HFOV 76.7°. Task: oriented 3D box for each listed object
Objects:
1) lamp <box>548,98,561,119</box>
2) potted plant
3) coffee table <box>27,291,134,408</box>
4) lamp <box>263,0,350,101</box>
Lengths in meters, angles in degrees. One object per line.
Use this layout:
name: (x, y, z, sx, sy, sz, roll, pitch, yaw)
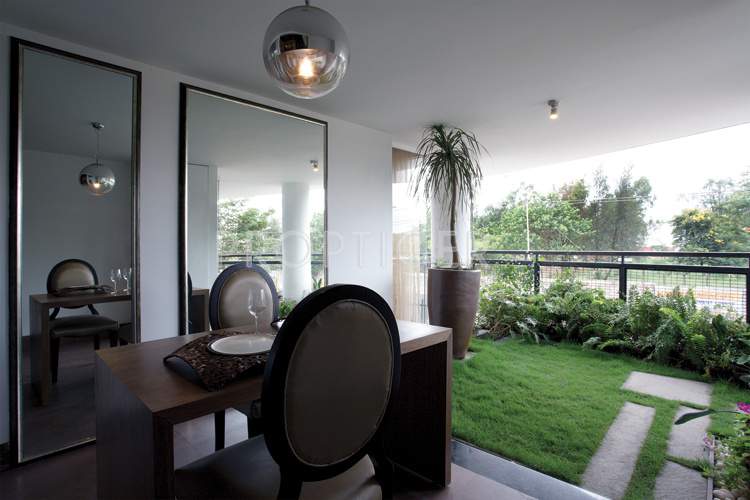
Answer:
lamp: (1.972, -1.573, 5.268, 0.166, 0.216, 0.167, -4, -6, 29)
potted plant: (0.892, -0.202, 5.981, 0.843, 2.709, 1.610, 1, 14, 10)
coffee table: (-2.400, 0.805, 3.787, 0.365, 0.870, 0.902, 6, 7, 43)
lamp: (-0.422, -1.261, 3.198, 0.511, 0.756, 0.534, 1, 5, -3)
